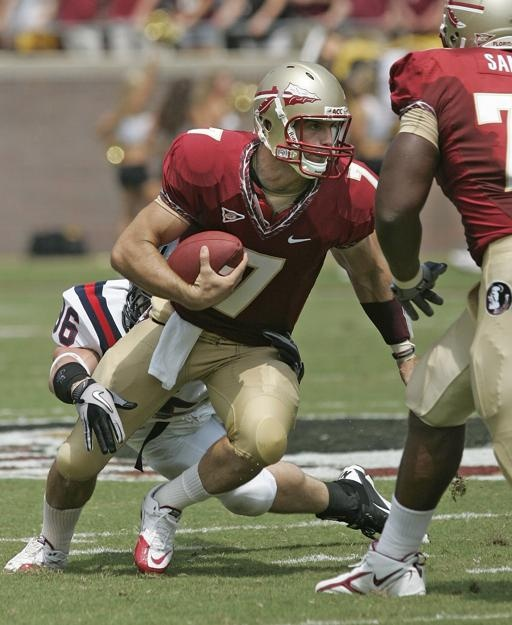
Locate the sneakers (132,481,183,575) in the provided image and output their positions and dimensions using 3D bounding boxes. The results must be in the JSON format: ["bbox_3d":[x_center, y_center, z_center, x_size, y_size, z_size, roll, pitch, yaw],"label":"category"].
[{"bbox_3d":[-0.300,0.650,2.331,0.125,0.133,0.314,28,27,-20],"label":"sneakers"}]

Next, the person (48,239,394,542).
[{"bbox_3d":[-0.106,0.259,2.600,1.367,0.399,0.819,28,-26,-16],"label":"person"}]

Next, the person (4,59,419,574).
[{"bbox_3d":[-0.076,-0.019,2.711,1.503,1.520,1.041,3,16,6],"label":"person"}]

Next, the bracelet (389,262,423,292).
[{"bbox_3d":[0.378,-0.083,1.913,0.074,0.025,0.072,2,-32,2],"label":"bracelet"}]

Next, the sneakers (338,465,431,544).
[{"bbox_3d":[0.364,0.623,2.568,0.226,0.195,0.440,-2,14,-7],"label":"sneakers"}]

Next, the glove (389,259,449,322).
[{"bbox_3d":[0.423,-0.040,2.041,0.161,0.168,0.142,6,23,5],"label":"glove"}]

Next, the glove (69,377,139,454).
[{"bbox_3d":[-0.434,0.291,2.182,0.189,0.201,0.069,-33,-5,-16],"label":"glove"}]

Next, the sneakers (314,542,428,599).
[{"bbox_3d":[0.297,0.656,1.944,0.328,0.111,0.111,-15,-28,38],"label":"sneakers"}]

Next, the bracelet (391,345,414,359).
[{"bbox_3d":[0.469,0.122,2.472,0.054,0.026,0.059,-6,-20,1],"label":"bracelet"}]

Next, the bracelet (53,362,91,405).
[{"bbox_3d":[-0.562,0.215,2.383,0.117,0.096,0.142,-17,14,-25],"label":"bracelet"}]

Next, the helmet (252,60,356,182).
[{"bbox_3d":[0.145,-0.567,2.282,0.267,0.278,0.338,-12,29,-39],"label":"helmet"}]
